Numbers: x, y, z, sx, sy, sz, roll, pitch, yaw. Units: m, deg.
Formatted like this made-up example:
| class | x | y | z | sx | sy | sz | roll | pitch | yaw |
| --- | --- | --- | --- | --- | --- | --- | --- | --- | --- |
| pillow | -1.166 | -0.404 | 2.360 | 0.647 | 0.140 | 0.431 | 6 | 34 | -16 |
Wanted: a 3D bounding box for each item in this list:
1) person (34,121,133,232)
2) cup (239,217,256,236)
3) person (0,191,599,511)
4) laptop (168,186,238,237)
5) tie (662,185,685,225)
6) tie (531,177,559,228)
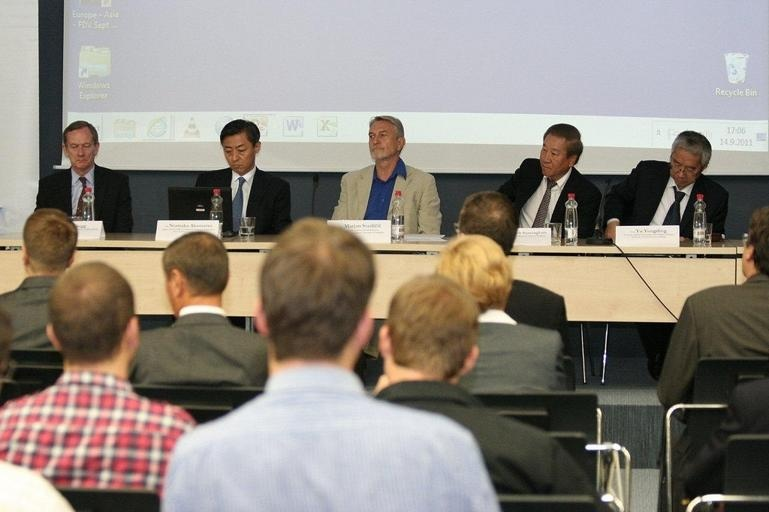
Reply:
| class | x | y | z | sx | sy | sz | roll | pitch | yaw |
| --- | --- | --- | --- | --- | --- | --- | --- | --- | --- |
| person | -2.011 | -0.337 | 5.913 | 0.666 | 1.014 | 0.546 | 0 | -2 | -16 |
| cup | -0.817 | -0.166 | 5.301 | 0.120 | 0.112 | 0.096 | 0 | 1 | 14 |
| person | 0.185 | 0.291 | 2.727 | 0.923 | 0.829 | 1.362 | 7 | 11 | 23 |
| laptop | -1.057 | -0.251 | 5.241 | 0.419 | 0.330 | 0.327 | 3 | 9 | 9 |
| tie | 1.844 | -0.288 | 5.707 | 0.082 | 0.318 | 0.042 | 20 | -2 | 22 |
| tie | 1.036 | -0.317 | 5.776 | 0.105 | 0.486 | 0.079 | 10 | -33 | 19 |
